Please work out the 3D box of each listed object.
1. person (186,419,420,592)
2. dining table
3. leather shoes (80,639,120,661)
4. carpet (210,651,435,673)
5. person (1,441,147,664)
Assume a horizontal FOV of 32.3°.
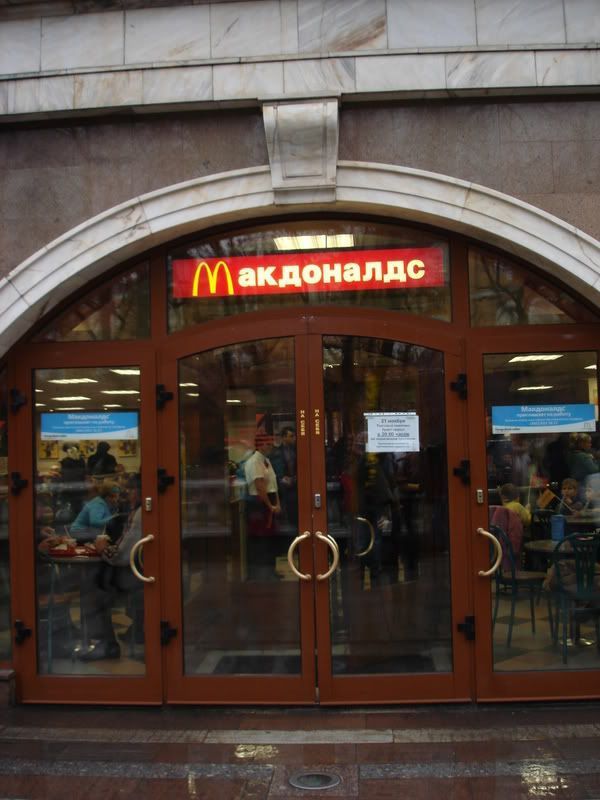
[{"bbox_3d":[-0.139,0.712,6.746,1.247,1.009,0.345,0,12,7],"label":"person"},{"bbox_3d":[-1.440,1.397,6.940,0.747,0.706,0.474,0,2,7],"label":"dining table"},{"bbox_3d":[-1.338,1.670,6.935,0.218,0.099,0.158,-4,-7,3],"label":"leather shoes"},{"bbox_3d":[0.213,1.708,6.711,0.993,0.143,0.047,-2,-1,4],"label":"carpet"},{"bbox_3d":[-1.408,1.033,6.922,0.735,1.561,0.539,-1,12,-1],"label":"person"}]
